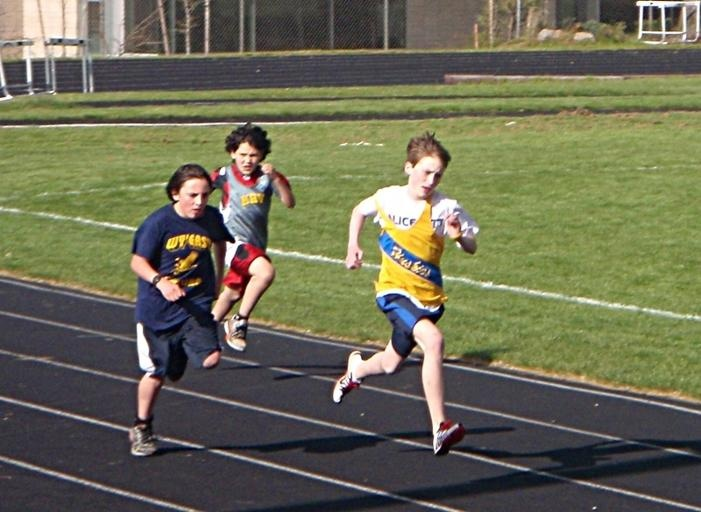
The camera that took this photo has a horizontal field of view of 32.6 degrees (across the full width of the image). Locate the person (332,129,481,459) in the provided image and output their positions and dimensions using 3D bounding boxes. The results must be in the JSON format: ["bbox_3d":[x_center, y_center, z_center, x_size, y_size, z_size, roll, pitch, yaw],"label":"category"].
[{"bbox_3d":[0.593,0.279,10.470,0.734,2.670,1.374,-11,15,-44],"label":"person"}]

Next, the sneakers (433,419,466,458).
[{"bbox_3d":[0.826,1.524,10.075,0.205,0.141,0.369,10,-22,-10],"label":"sneakers"}]

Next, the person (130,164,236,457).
[{"bbox_3d":[-1.496,0.470,10.344,0.797,2.479,0.543,-1,11,-3],"label":"person"}]

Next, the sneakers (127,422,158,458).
[{"bbox_3d":[-1.773,1.558,10.481,0.228,0.202,0.486,1,22,-12],"label":"sneakers"}]
